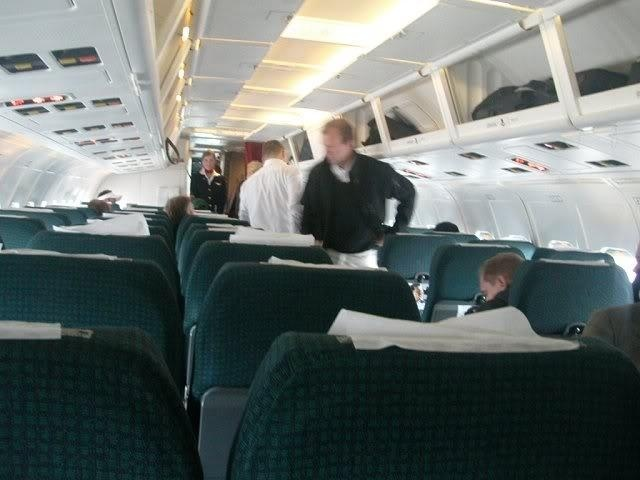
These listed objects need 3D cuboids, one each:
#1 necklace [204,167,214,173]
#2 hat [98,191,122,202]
[{"bbox_3d":[-2.596,-1.609,10.668,0.124,0.130,0.159,0,-6,-1],"label":"necklace"},{"bbox_3d":[-6.327,-1.303,13.761,0.680,0.279,0.879,-9,17,-34],"label":"hat"}]
